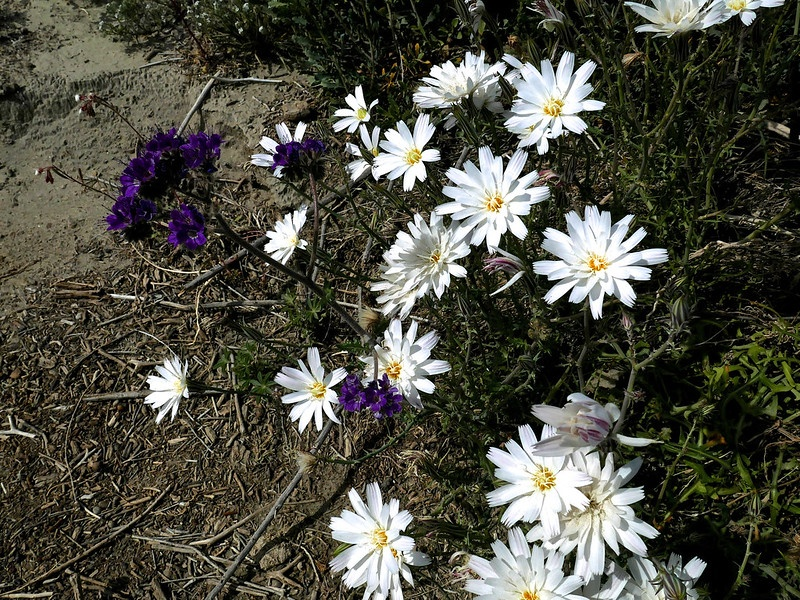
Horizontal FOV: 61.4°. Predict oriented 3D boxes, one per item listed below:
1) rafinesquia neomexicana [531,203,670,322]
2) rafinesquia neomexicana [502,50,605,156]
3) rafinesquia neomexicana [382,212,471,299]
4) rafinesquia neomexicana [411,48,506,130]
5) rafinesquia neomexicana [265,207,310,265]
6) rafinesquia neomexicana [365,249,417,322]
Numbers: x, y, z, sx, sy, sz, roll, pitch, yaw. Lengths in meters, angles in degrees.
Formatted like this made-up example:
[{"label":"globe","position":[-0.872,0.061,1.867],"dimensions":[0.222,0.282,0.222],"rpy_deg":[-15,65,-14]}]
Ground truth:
[{"label":"rafinesquia neomexicana","position":[0.675,-0.152,2.314],"dimensions":[0.430,0.410,0.160],"rpy_deg":[-13,59,53]},{"label":"rafinesquia neomexicana","position":[0.599,-0.711,2.550],"dimensions":[0.345,0.170,0.375],"rpy_deg":[35,100,17]},{"label":"rafinesquia neomexicana","position":[0.122,-0.209,2.516],"dimensions":[0.293,0.121,0.284],"rpy_deg":[-23,-3,-34]},{"label":"rafinesquia neomexicana","position":[0.235,-0.842,2.652],"dimensions":[0.363,0.206,0.263],"rpy_deg":[-5,47,13]},{"label":"rafinesquia neomexicana","position":[-0.454,-0.287,2.901],"dimensions":[0.234,0.093,0.253],"rpy_deg":[-22,55,31]},{"label":"rafinesquia neomexicana","position":[-0.021,-0.027,2.552],"dimensions":[0.227,0.245,0.093],"rpy_deg":[-21,-5,41]}]
